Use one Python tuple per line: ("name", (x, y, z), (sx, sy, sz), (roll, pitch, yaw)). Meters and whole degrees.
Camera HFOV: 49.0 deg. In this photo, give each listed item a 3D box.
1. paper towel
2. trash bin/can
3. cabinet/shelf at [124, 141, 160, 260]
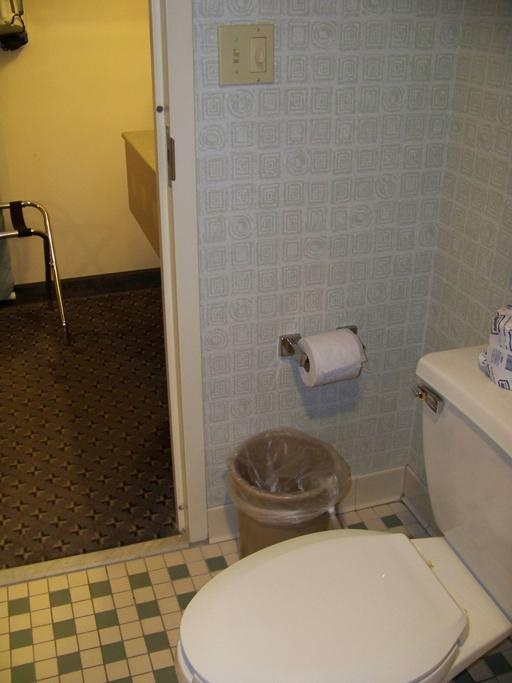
("paper towel", (0.174, 0.041, 1.315), (0.128, 0.117, 0.109), (-10, 31, -19))
("trash bin/can", (0.064, 0.340, 1.254), (0.203, 0.217, 0.191), (23, 42, 24))
("cabinet/shelf", (-0.468, -0.650, 2.352), (0.148, 0.411, 1.037), (-6, 24, -11))
